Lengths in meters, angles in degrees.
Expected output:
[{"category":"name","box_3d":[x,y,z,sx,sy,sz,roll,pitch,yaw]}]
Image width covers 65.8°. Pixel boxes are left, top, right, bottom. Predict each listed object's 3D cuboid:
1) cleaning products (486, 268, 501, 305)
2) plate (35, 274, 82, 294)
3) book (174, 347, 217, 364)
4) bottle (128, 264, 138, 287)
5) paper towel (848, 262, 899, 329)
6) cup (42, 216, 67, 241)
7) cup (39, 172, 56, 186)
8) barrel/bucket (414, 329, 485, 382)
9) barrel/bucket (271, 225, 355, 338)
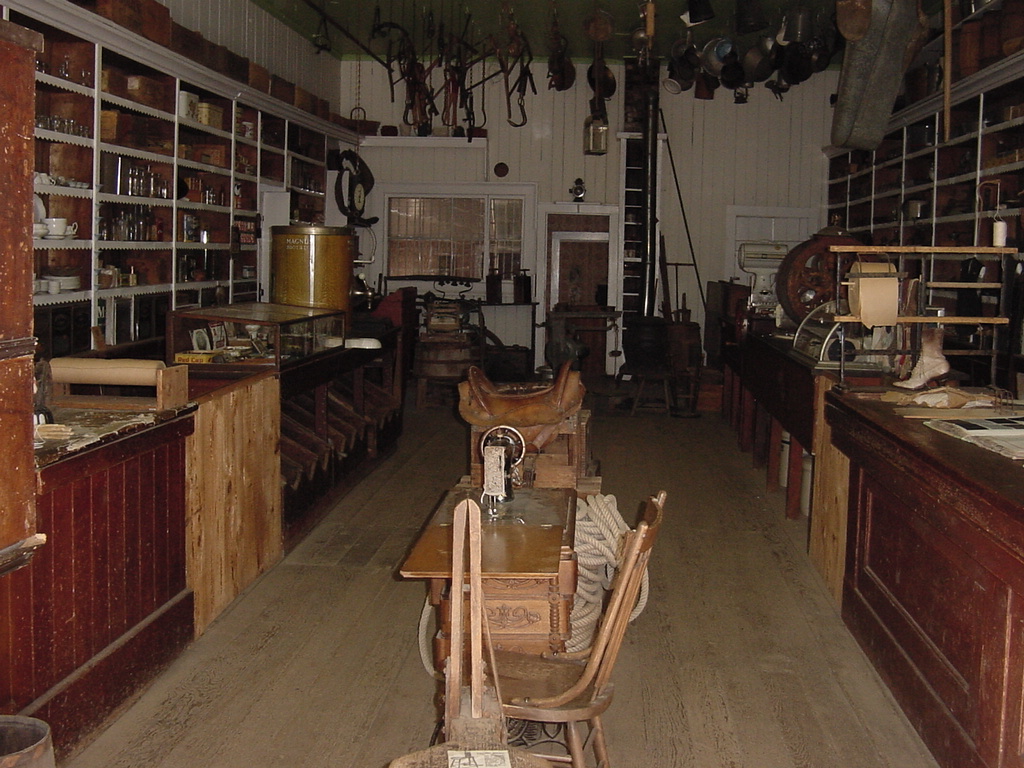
[{"category":"cleaning products","box_3d":[-0.264,-1.369,11.160,0.198,0.477,0.757,-2,9,-3]},{"category":"plate","box_3d":[-3.441,-0.748,5.954,0.190,0.151,0.576,-2,9,-2]},{"category":"book","box_3d":[-2.022,-0.170,5.039,0.249,0.086,0.160,-5,9,-22]},{"category":"bottle","box_3d":[-3.338,-0.963,6.966,0.085,0.194,0.359,-5,9,-25]},{"category":"paper towel","box_3d":[1.897,-0.429,4.151,0.172,0.336,0.344,3,-8,18]},{"category":"cup","box_3d":[-3.383,-1.159,5.865,0.140,0.114,0.143,1,9,0]},{"category":"cup","box_3d":[-3.389,-1.488,5.717,0.066,0.092,0.221,-2,9,-7]},{"category":"barrel/bucket","box_3d":[-0.825,-0.354,9.637,0.570,0.491,0.616,0,6,0]},{"category":"barrel/bucket","box_3d":[-1.746,-0.924,7.141,0.869,1.028,0.836,1,6,0]}]
